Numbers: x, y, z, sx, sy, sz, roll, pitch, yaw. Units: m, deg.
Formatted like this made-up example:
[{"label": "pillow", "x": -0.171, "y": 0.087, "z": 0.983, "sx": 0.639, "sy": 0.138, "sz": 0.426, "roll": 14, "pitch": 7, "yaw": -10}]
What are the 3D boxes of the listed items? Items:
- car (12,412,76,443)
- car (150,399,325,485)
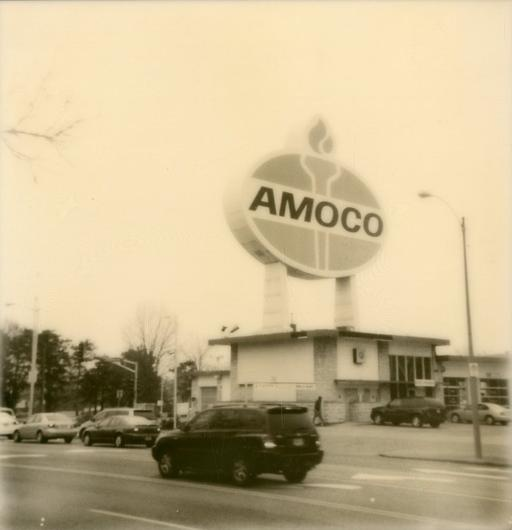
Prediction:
[{"label": "car", "x": -5.239, "y": 4.359, "z": 14.056, "sx": 0.947, "sy": 0.827, "sz": 2.024, "roll": 10, "pitch": -14, "yaw": -41}, {"label": "car", "x": -0.338, "y": 3.204, "z": 10.237, "sx": 2.634, "sy": 1.336, "sz": 1.463, "roll": -3, "pitch": -11, "yaw": 34}]
